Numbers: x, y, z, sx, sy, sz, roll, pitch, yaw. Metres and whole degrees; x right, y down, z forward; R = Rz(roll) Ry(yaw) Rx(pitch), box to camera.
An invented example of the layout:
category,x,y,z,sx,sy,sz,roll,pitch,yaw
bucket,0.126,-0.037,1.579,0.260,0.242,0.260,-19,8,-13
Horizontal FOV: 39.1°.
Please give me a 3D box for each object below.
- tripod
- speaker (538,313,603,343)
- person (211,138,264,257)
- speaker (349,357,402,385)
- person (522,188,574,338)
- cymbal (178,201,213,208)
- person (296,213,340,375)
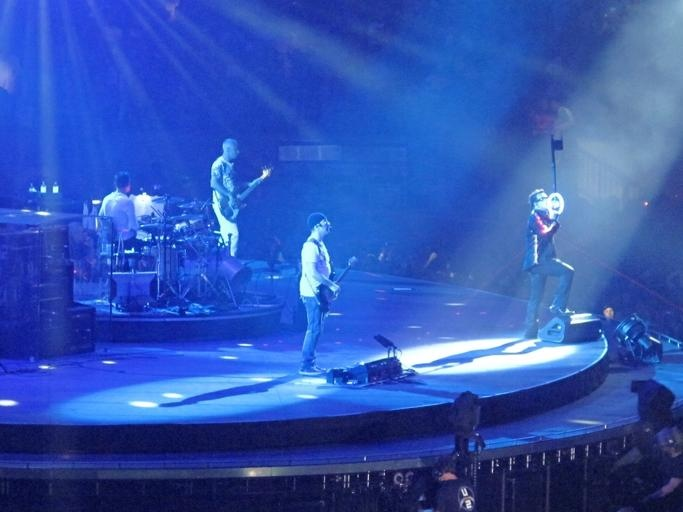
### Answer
category,x,y,z,sx,sy,sz,roll,pitch,yaw
tripod,-2.133,0.097,13.858,0.939,1.457,0.904,13,16,41
speaker,3.155,0.991,13.152,0.840,0.422,0.413,5,-3,-22
person,-1.769,-1.004,15.067,0.635,2.061,0.674,12,16,36
speaker,0.420,1.333,11.120,0.738,0.255,0.221,-3,-4,-37
person,2.832,0.096,13.224,0.648,2.088,0.589,4,-2,10
cymbal,-2.197,-0.799,14.671,0.170,0.088,0.173,-1,9,23
person,-0.303,0.438,11.260,0.470,1.706,0.581,-2,14,-19
